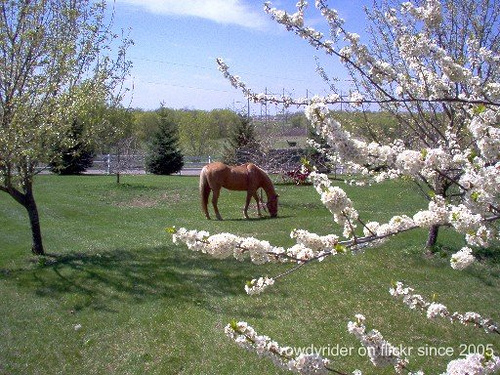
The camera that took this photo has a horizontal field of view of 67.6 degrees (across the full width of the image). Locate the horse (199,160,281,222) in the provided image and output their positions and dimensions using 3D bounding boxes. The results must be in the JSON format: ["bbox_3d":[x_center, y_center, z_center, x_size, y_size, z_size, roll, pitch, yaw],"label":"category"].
[{"bbox_3d":[-0.307,0.055,16.668,3.252,2.314,4.471,1,5,4],"label":"horse"}]
